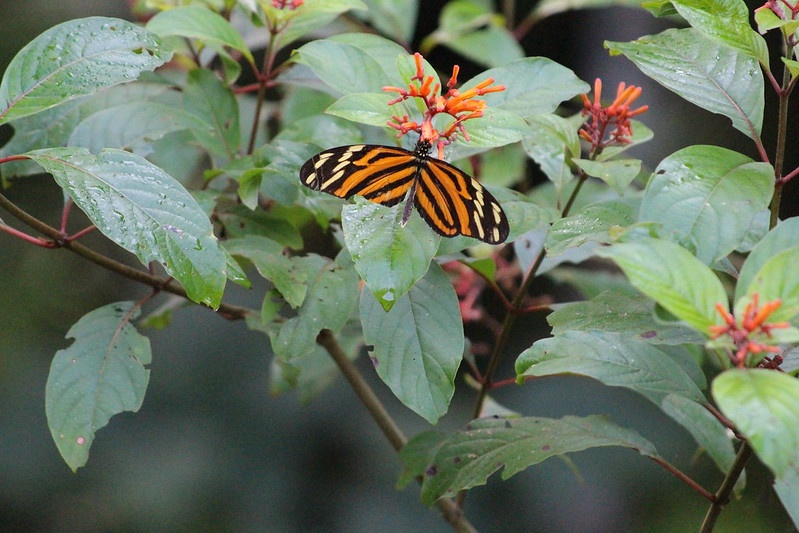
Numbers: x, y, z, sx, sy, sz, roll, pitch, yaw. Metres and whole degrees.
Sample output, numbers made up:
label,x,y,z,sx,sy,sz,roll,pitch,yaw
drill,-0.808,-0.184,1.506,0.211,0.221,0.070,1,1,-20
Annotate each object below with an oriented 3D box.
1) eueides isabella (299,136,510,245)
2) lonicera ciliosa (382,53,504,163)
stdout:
label,x,y,z,sx,sy,sz,roll,pitch,yaw
eueides isabella,0.017,-0.253,2.569,0.686,0.320,0.206,3,27,7
lonicera ciliosa,0.130,-0.513,2.513,0.376,0.219,0.366,-28,55,-16
